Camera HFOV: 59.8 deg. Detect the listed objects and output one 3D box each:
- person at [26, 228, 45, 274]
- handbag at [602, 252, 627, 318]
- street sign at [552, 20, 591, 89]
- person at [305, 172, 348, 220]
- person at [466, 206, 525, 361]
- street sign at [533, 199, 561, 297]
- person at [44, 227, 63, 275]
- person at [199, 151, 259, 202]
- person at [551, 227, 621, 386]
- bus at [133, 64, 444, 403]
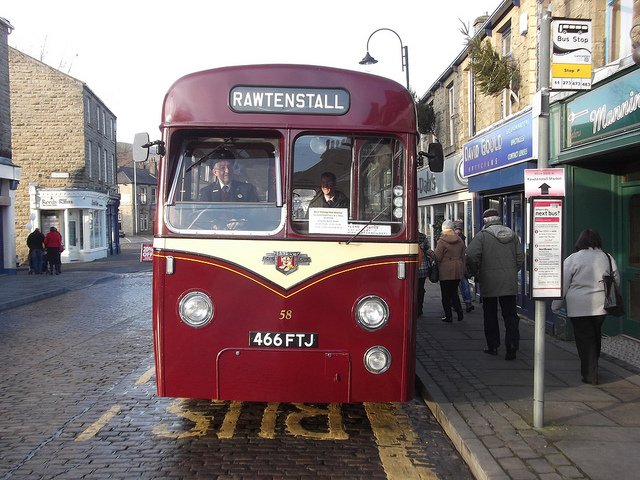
[{"bbox_3d":[-12.918,0.516,25.444,0.792,2.007,0.576,1,3,36],"label":"person"},{"bbox_3d":[3.766,0.506,7.216,0.264,0.602,0.132,-1,8,-12],"label":"handbag"},{"bbox_3d":[2.663,-1.965,5.880,0.412,0.739,0.087,-1,3,-1],"label":"street sign"},{"bbox_3d":[0.105,-0.380,5.862,0.644,0.619,0.384,2,-3,2],"label":"person"},{"bbox_3d":[2.706,0.680,8.546,0.809,2.185,0.602,0,3,20],"label":"person"},{"bbox_3d":[2.387,0.098,5.813,0.315,1.122,0.109,-3,-20,33],"label":"street sign"},{"bbox_3d":[-12.334,0.474,25.758,0.740,2.035,1.385,-2,3,-27],"label":"person"},{"bbox_3d":[-0.977,-0.611,5.835,0.671,0.594,0.335,-1,-12,-9],"label":"person"},{"bbox_3d":[3.542,0.855,7.329,0.614,1.977,0.510,-3,3,-32],"label":"person"},{"bbox_3d":[-0.300,0.044,7.447,1.973,2.651,3.981,0,-2,2],"label":"bus"}]
